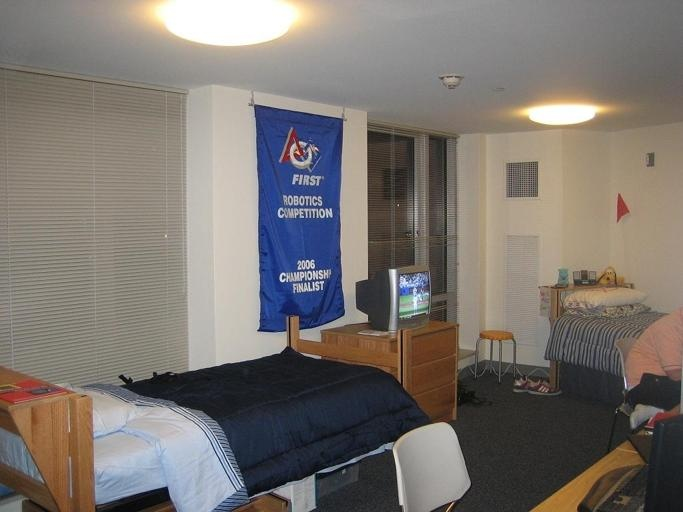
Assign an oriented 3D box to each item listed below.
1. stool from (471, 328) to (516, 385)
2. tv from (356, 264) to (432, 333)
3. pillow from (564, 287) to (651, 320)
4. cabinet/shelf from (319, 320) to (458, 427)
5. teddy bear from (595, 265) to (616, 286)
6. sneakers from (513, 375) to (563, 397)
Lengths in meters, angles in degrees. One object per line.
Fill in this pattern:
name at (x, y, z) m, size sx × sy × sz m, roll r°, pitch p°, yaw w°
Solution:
stool at (1.969, 1.280, 6.515) m, size 0.536 × 0.592 × 0.532 m, roll 0°, pitch 3°, yaw 5°
tv at (0.543, 0.387, 5.010) m, size 0.587 × 0.603 × 0.638 m, roll 2°, pitch 5°, yaw 37°
pillow at (3.111, 0.550, 5.941) m, size 0.592 × 0.169 × 0.442 m, roll -1°, pitch 1°, yaw -21°
cabinet/shelf at (0.462, 0.919, 4.938) m, size 0.914 × 1.216 × 1.368 m, roll 2°, pitch 4°, yaw 39°
teddy bear at (3.436, 0.262, 6.558) m, size 0.299 × 0.315 × 0.198 m, roll -7°, pitch 12°, yaw -39°
sneakers at (2.289, 1.525, 5.981) m, size 0.525 × 0.225 × 0.202 m, roll 3°, pitch 6°, yaw 11°
